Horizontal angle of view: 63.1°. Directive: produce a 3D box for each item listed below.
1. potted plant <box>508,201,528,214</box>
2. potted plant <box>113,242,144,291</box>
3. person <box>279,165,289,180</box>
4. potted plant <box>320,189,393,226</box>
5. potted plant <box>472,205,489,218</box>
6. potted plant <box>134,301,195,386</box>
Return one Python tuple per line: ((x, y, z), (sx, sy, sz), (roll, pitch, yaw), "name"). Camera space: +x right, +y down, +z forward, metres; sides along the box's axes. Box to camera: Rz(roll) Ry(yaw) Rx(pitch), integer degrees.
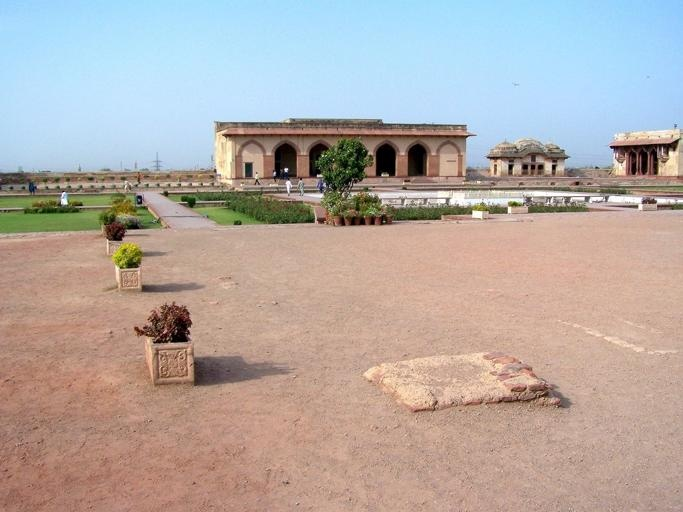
((6.784, -1.857, 21.332), (0.730, 0.400, 1.180), (3, 8, 18), "potted plant")
((-3.118, 0.140, 8.183), (0.566, 0.897, 0.609), (1, 4, -23), "potted plant")
((-4.206, -6.158, 41.027), (0.825, 0.579, 2.409), (0, 15, -3), "person")
((0.429, -1.473, 17.167), (2.203, 0.979, 1.243), (0, 7, 0), "potted plant")
((4.841, -1.645, 19.259), (0.366, 0.417, 0.626), (-2, 6, -11), "potted plant")
((-1.508, 0.751, 4.791), (0.448, 0.639, 0.428), (-2, 8, -21), "potted plant")
